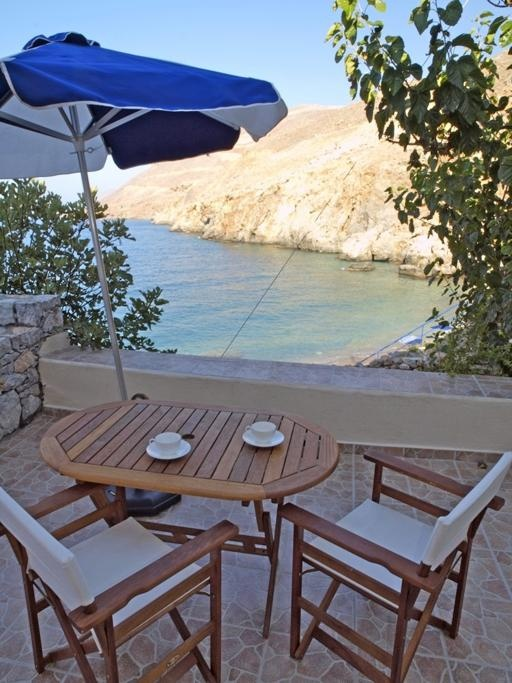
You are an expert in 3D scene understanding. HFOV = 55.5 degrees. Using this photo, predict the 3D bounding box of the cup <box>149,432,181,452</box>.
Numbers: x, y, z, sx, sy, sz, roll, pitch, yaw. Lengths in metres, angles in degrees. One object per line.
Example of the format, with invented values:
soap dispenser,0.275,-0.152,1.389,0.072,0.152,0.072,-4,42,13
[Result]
cup,-0.324,0.352,1.694,0.076,0.031,0.058,-4,20,-2

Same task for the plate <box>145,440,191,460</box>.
plate,-0.311,0.376,1.694,0.152,0.056,0.109,-1,15,5

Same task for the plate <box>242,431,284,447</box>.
plate,0.028,0.358,1.761,0.147,0.039,0.104,-3,15,-2

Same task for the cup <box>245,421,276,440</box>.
cup,0.020,0.317,1.767,0.086,0.039,0.068,-1,8,36
